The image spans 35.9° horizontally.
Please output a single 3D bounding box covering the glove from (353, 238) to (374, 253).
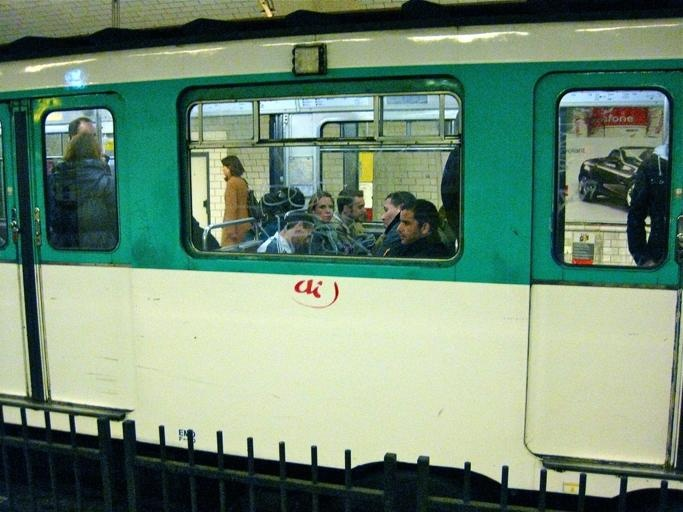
[{"bbox_3d":[0.167,-0.068,7.747,0.113,0.093,0.050,25,-13,26],"label":"glove"}]

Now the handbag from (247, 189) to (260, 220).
[{"bbox_3d":[-0.652,-0.385,7.902,0.102,0.208,0.047,-1,12,28],"label":"handbag"}]
